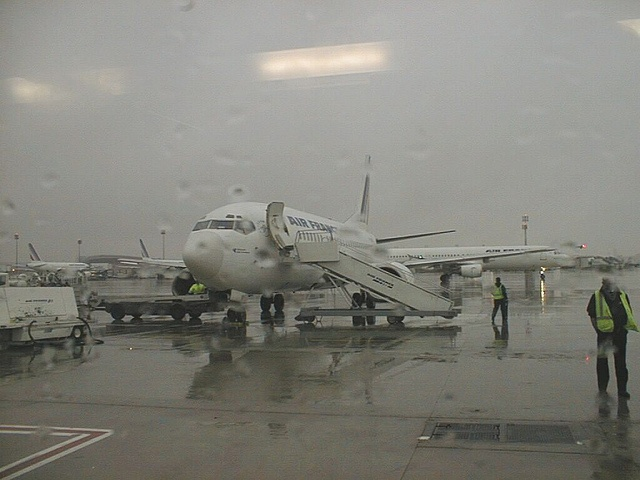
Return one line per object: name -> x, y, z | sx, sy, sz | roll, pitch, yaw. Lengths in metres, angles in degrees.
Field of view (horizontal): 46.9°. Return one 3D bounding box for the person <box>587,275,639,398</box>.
person -> 5.703, 1.871, 14.384 | 0.893, 2.278, 0.913 | -1, -1, 16
